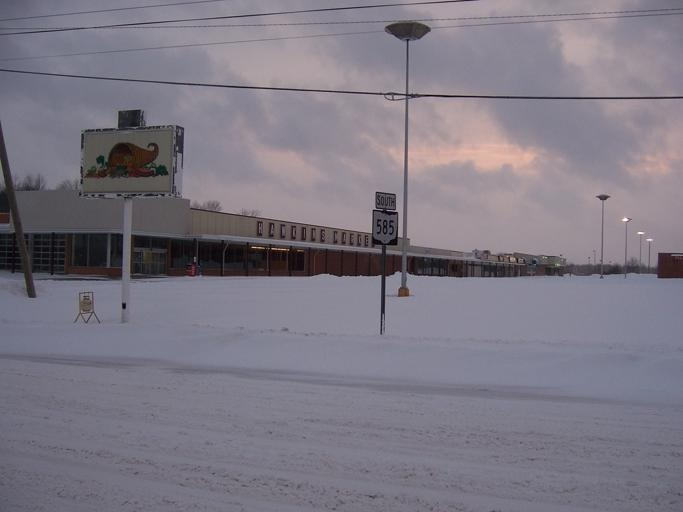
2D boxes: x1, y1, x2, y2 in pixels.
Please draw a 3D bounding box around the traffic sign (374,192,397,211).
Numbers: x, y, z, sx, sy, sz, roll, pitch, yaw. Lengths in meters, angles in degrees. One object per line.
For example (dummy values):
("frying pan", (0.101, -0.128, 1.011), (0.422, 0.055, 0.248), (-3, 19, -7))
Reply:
("traffic sign", (1.118, -1.336, 19.784), (0.179, 0.466, 0.774), (8, 13, 37))
